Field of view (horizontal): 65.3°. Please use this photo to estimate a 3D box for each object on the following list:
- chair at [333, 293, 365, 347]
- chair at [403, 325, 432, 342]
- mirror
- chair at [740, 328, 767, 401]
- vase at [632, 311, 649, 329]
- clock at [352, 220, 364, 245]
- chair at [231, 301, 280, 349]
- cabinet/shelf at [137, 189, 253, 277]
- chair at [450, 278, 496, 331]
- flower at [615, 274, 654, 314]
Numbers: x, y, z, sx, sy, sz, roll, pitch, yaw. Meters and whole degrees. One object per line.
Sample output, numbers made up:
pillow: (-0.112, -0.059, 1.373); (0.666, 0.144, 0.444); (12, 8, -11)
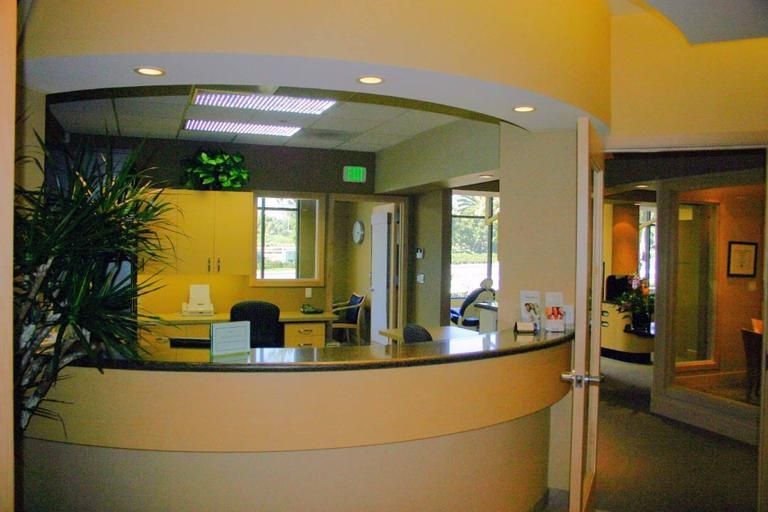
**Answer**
chair: (-0.700, 1.029, 9.451); (0.646, 0.809, 0.572); (3, 1, -16)
chair: (0.313, 0.683, 5.328); (0.192, 0.228, 0.187); (1, 0, -42)
mirror: (-1.333, -0.202, 8.092); (1.431, 1.553, 0.114); (3, -9, -31)
chair: (3.889, 1.145, 6.339); (0.147, 0.652, 0.310); (0, 0, 24)
vase: (3.887, 0.970, 9.064); (0.231, 0.237, 0.119); (0, 0, 20)
clock: (-0.471, -0.440, 11.147); (0.099, 0.437, 0.531); (0, 0, -16)
chair: (-1.473, 0.751, 6.903); (0.595, 0.722, 0.640); (0, 2, -19)
cabinet/shelf: (-1.993, -0.249, 7.630); (1.442, 1.086, 0.546); (1, 0, 32)
chair: (1.525, 0.912, 10.825); (0.733, 0.906, 0.929); (0, 1, -40)
flower: (3.897, 0.600, 9.255); (0.610, 0.707, 0.544); (2, -1, -22)
